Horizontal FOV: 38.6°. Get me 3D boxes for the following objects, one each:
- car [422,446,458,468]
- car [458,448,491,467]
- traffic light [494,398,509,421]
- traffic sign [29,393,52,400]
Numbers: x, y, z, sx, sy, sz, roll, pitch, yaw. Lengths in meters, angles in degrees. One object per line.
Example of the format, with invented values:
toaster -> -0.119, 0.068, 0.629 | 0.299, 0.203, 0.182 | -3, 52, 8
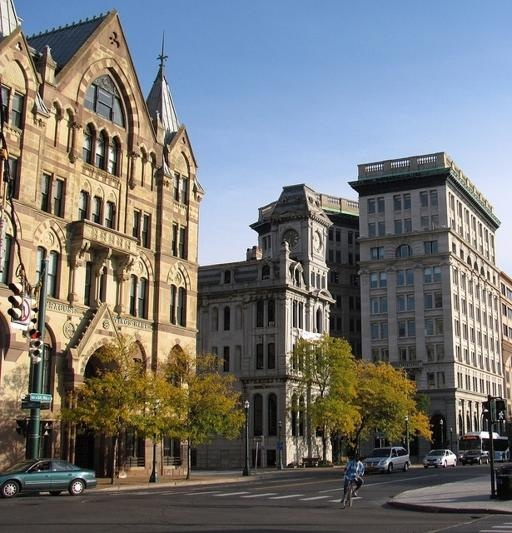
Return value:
car -> 15.972, 17.041, 64.315 | 2.255, 1.756, 5.369 | -7, -18, 22
car -> 21.533, 19.001, 72.349 | 1.463, 1.157, 3.654 | -10, -22, 20
traffic light -> 8.719, 5.168, 26.208 | 0.304, 0.858, 1.465 | -6, -18, 22
traffic sign -> -7.802, 4.797, 26.459 | 0.438, 0.319, 1.145 | -2, -17, 6
